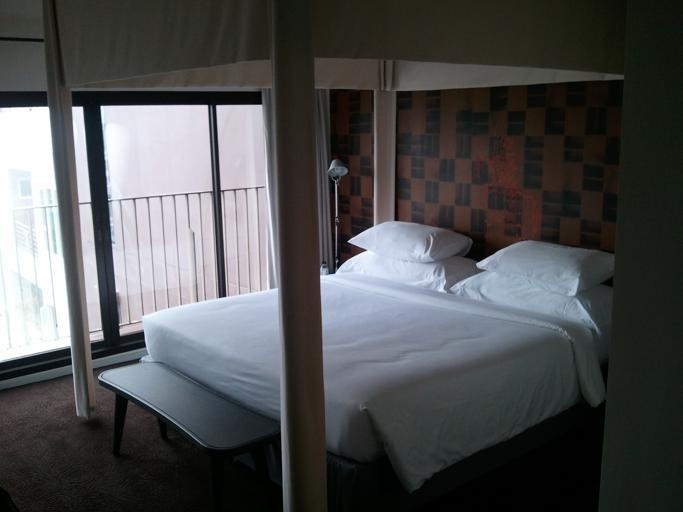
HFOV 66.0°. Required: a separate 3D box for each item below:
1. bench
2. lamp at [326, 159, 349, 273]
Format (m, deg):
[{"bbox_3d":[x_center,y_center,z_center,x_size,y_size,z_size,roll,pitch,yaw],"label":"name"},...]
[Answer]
[{"bbox_3d":[-0.781,0.963,2.712,1.199,0.517,0.397,12,19,42],"label":"bench"},{"bbox_3d":[-0.047,-0.329,5.101,0.182,1.137,0.187,1,1,-7],"label":"lamp"}]
